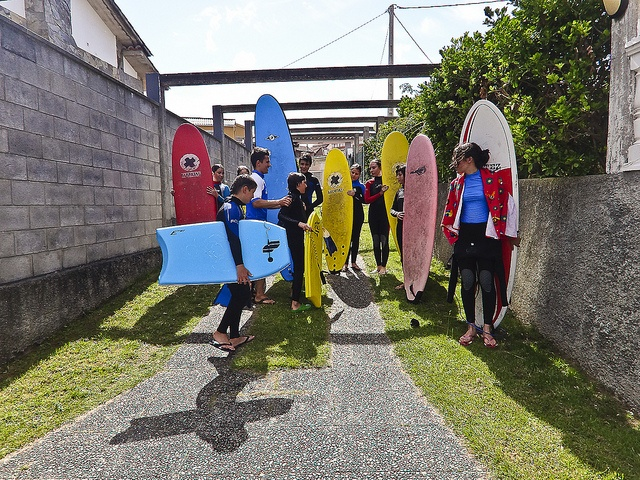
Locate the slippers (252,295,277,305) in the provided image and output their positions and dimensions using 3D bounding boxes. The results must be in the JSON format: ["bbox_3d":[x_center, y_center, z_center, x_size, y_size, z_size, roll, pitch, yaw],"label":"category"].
[{"bbox_3d":[-0.722,0.760,5.589,0.245,0.066,0.108,1,10,17],"label":"slippers"}]

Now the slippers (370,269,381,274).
[{"bbox_3d":[0.825,0.481,6.767,0.133,0.106,0.049,12,42,6],"label":"slippers"}]

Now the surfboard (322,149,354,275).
[{"bbox_3d":[0.250,-0.444,6.719,0.452,1.859,0.689,-2,8,-1],"label":"surfboard"}]

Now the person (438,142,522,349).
[{"bbox_3d":[1.557,0.052,4.389,0.682,1.984,0.333,2,9,24],"label":"person"}]

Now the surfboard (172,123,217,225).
[{"bbox_3d":[-1.845,-0.978,6.533,0.798,1.486,0.375,3,10,34],"label":"surfboard"}]

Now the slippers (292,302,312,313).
[{"bbox_3d":[-0.224,0.798,5.272,0.221,0.102,0.085,-7,15,-10],"label":"slippers"}]

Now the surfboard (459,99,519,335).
[{"bbox_3d":[1.734,-0.271,4.535,0.244,2.427,0.530,8,-6,-37],"label":"surfboard"}]

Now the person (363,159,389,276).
[{"bbox_3d":[0.837,-0.343,6.657,0.341,1.695,0.497,-2,8,-2],"label":"person"}]

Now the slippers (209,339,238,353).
[{"bbox_3d":[-0.947,1.028,4.388,0.200,0.059,0.100,10,10,22],"label":"slippers"}]

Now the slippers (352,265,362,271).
[{"bbox_3d":[0.578,0.441,7.091,0.166,0.128,0.058,3,17,1],"label":"slippers"}]

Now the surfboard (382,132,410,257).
[{"bbox_3d":[1.115,-0.691,6.791,0.365,1.880,0.173,-1,0,0],"label":"surfboard"}]

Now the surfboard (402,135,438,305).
[{"bbox_3d":[1.145,-0.236,5.231,0.260,2.000,1.105,-2,8,0],"label":"surfboard"}]

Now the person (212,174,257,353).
[{"bbox_3d":[-0.853,0.229,4.437,0.422,1.707,0.430,0,8,16],"label":"person"}]
